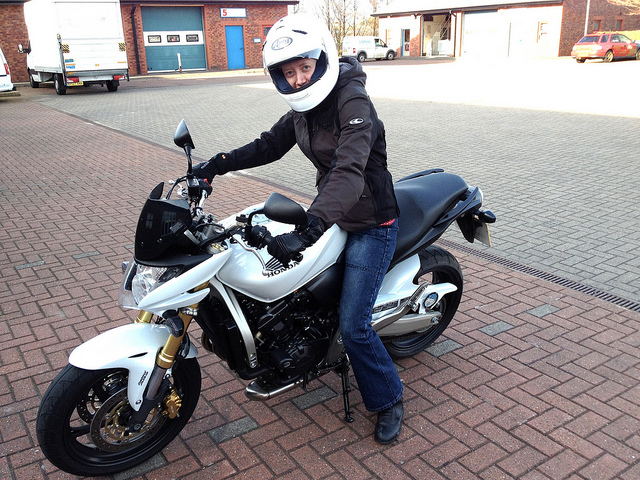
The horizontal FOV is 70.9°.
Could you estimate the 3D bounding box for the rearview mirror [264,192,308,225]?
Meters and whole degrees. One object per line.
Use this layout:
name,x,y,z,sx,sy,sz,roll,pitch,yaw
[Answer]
rearview mirror,-0.157,-0.127,2.108,0.182,0.074,0.146,23,-11,-14

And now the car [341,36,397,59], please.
car,3.717,-17.482,40.530,3.277,1.919,5.084,12,25,31

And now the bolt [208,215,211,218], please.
bolt,-0.607,-0.131,2.485,0.014,0.007,0.007,16,10,-10
